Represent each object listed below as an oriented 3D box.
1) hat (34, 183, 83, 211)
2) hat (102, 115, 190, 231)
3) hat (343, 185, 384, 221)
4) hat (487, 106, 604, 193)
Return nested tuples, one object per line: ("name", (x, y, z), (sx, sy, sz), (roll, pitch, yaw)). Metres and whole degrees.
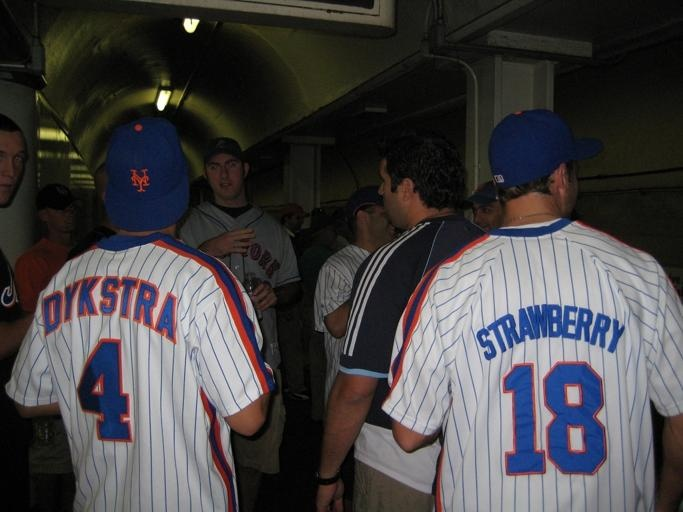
("hat", (-1.980, -0.403, 4.357), (0.225, 0.135, 0.170), (-13, 4, 38))
("hat", (-0.736, -0.338, 2.354), (0.328, 0.483, 0.171), (-12, -30, -5))
("hat", (0.127, -0.345, 3.900), (0.263, 0.147, 0.203), (-8, -9, -7))
("hat", (0.758, -0.458, 2.419), (0.447, 0.258, 0.330), (-16, 12, 1))
